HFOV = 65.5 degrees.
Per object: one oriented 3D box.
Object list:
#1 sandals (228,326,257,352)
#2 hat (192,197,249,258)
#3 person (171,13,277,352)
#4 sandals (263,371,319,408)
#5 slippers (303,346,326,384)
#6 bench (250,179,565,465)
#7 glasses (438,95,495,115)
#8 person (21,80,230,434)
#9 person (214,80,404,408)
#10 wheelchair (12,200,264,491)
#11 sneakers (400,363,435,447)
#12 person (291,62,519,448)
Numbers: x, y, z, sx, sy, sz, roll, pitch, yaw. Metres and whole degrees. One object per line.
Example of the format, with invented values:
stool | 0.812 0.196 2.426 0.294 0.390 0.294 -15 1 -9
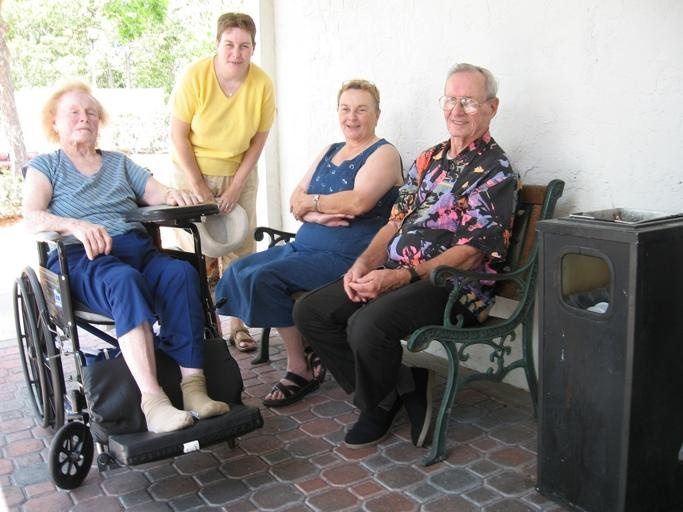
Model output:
sandals | -0.746 0.626 3.998 0.114 0.090 0.300 -6 8 -25
hat | -0.854 -0.205 3.742 0.257 0.362 0.275 -11 18 -36
person | -0.904 -0.572 4.078 0.800 2.369 0.825 0 32 -13
sandals | -0.342 0.767 3.232 0.260 0.188 0.318 4 12 24
slippers | -0.182 0.711 3.375 0.112 0.300 0.108 1 41 16
bench | 0.369 0.370 3.111 1.175 1.559 2.186 0 1 -37
glasses | 0.647 -0.780 2.716 0.250 0.096 0.101 1 15 15
person | -1.089 -0.070 2.749 1.213 1.755 0.781 2 10 44
person | -0.191 -0.128 3.411 1.256 1.949 0.778 -4 9 -36
wheelchair | -1.131 0.365 2.803 1.052 1.236 1.618 -12 17 -30
sneakers | 0.405 0.769 2.717 0.163 0.390 0.137 11 -22 -28
person | 0.378 0.029 2.852 1.125 1.942 0.919 -5 10 -23
